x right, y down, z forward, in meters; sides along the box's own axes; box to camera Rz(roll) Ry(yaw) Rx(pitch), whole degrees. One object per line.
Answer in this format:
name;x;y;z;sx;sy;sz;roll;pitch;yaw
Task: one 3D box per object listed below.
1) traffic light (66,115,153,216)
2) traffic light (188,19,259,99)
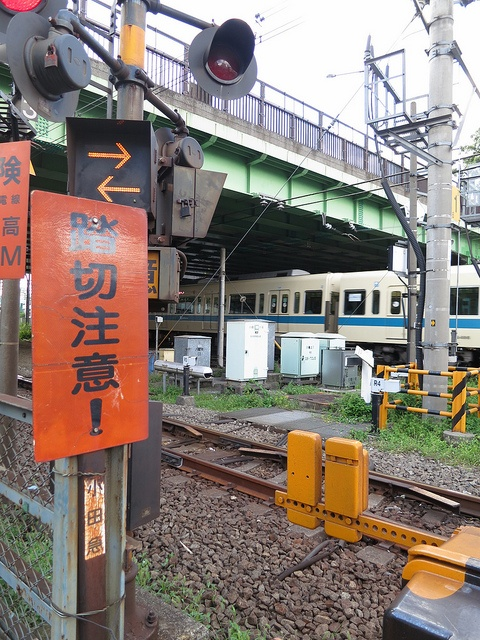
traffic light;-0.853;-1.014;3.615;0.546;0.615;0.456;-1;-1;-8
traffic light;-0.136;-2.054;4.124;0.510;0.524;0.501;1;0;1
